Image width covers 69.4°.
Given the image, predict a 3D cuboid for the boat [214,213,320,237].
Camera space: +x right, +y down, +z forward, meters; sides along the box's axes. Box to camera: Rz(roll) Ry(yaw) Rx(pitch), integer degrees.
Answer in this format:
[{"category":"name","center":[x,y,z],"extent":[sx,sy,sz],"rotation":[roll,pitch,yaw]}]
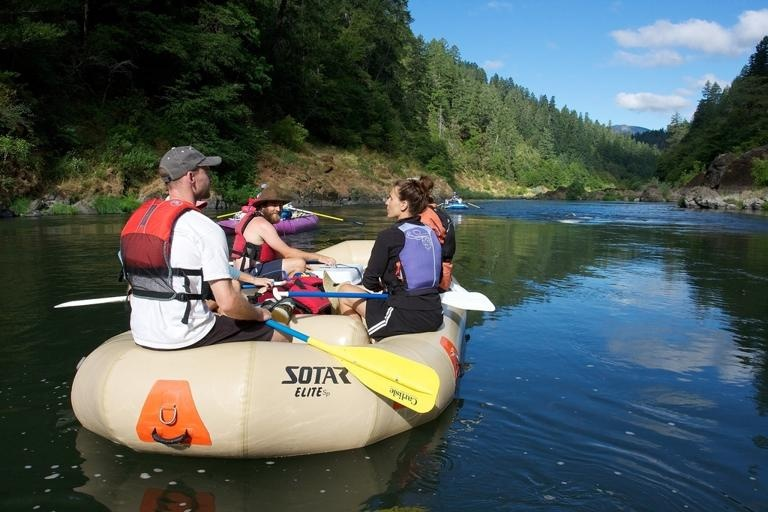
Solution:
[{"category":"boat","center":[-2.987,-0.941,16.436],"extent":[1.518,0.576,4.316],"rotation":[-2,1,28]}]

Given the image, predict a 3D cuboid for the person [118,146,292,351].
[{"category":"person","center":[-1.695,-0.068,4.850],"extent":[1.137,1.762,0.584],"rotation":[2,8,14]}]

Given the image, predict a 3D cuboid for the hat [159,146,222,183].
[{"category":"hat","center":[-1.693,-0.809,4.805],"extent":[0.534,0.190,0.309],"rotation":[-10,22,-28]}]

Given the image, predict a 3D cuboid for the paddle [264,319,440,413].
[{"category":"paddle","center":[-0.453,0.899,5.324],"extent":[2.221,0.481,0.118],"rotation":[19,21,29]}]

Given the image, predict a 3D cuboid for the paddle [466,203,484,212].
[{"category":"paddle","center":[6.632,-3.606,40.442],"extent":[0.910,0.258,1.534],"rotation":[7,-2,13]}]

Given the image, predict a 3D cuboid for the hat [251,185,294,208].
[{"category":"hat","center":[-1.337,-0.791,7.061],"extent":[0.339,0.124,0.397],"rotation":[-4,-6,27]}]
